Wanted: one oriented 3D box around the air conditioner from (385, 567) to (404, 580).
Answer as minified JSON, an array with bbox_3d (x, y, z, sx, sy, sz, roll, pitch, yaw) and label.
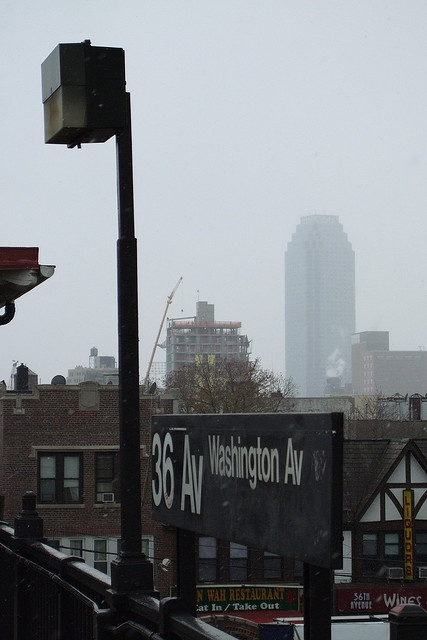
[{"bbox_3d":[4.453,6.197,38.374,0.444,0.277,0.264,0,-6,-5],"label":"air conditioner"}]
